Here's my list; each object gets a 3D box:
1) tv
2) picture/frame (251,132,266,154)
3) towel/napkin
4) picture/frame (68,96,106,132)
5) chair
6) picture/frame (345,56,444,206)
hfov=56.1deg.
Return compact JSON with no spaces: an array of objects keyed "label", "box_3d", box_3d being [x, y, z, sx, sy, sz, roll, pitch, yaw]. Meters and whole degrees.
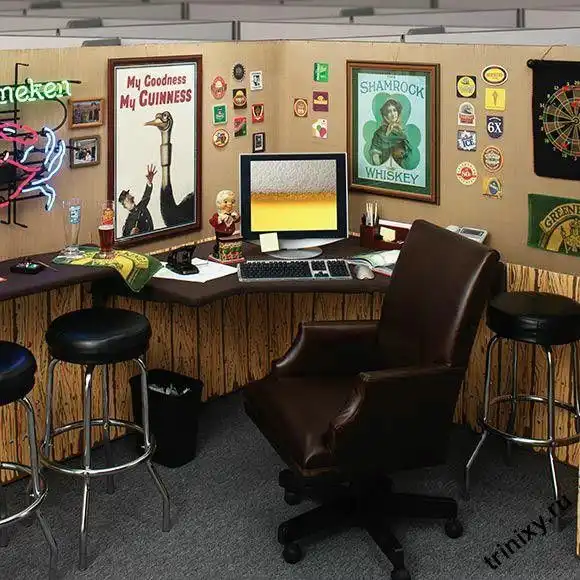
[{"label":"tv","box_3d":[0.011,-0.426,2.702,0.518,0.499,0.205,-1,5,-6]},{"label":"picture/frame","box_3d":[-0.188,-0.847,3.105,0.013,0.134,0.132,10,15,39]},{"label":"towel/napkin","box_3d":[-0.711,-0.107,2.154,0.240,0.081,0.237,8,17,13]},{"label":"picture/frame","box_3d":[-0.859,-0.745,2.275,0.016,0.114,0.160,12,19,33]},{"label":"chair","box_3d":[0.266,0.245,2.547,1.149,1.728,1.095,-3,14,-22]},{"label":"picture/frame","box_3d":[0.550,-0.842,2.787,0.677,0.865,0.035,13,21,41]}]
